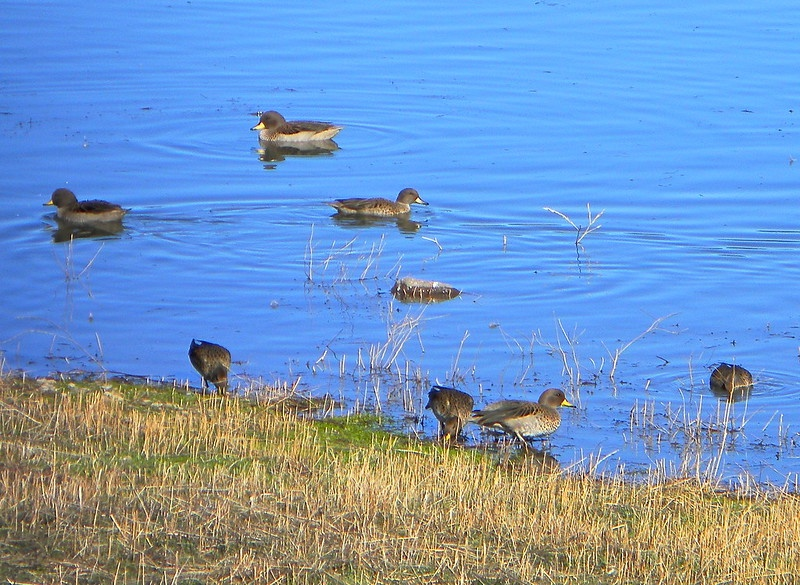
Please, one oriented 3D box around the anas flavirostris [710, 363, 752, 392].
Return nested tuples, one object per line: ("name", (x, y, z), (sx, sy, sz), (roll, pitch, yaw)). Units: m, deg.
("anas flavirostris", (6.215, 1.585, 22.092), (0.726, 0.428, 0.610), (-17, 34, -31))
